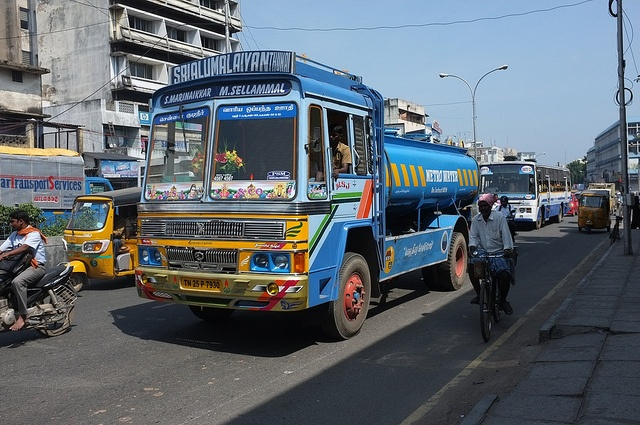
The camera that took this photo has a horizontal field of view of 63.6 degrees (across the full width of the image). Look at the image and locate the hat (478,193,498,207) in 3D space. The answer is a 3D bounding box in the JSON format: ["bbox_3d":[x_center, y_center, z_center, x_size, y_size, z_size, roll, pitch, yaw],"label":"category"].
[{"bbox_3d":[3.188,-0.216,9.900,0.138,0.264,0.548,3,7,44],"label":"hat"}]

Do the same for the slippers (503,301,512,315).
[{"bbox_3d":[3.737,1.925,10.256,0.076,0.266,0.179,-32,25,-31],"label":"slippers"}]

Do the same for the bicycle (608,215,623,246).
[{"bbox_3d":[14.695,0.894,25.725,0.854,1.191,2.004,5,-8,23],"label":"bicycle"}]
